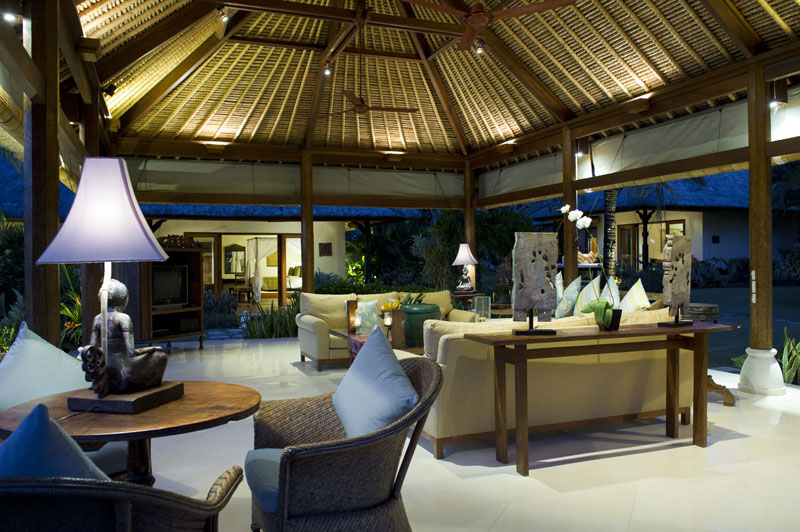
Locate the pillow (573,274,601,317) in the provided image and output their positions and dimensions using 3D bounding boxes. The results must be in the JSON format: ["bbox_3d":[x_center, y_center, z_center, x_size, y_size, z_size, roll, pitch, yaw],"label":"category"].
[{"bbox_3d":[2.076,0.327,6.123,0.288,0.159,0.515,13,-35,3],"label":"pillow"}]

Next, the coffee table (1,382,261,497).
[{"bbox_3d":[-1.235,0.762,2.800,0.830,0.293,0.819,1,-2,-1],"label":"coffee table"}]

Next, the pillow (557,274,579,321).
[{"bbox_3d":[1.920,0.356,6.095,0.140,0.458,0.439,20,-11,-11],"label":"pillow"}]

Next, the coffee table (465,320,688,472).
[{"bbox_3d":[1.633,1.062,4.356,2.137,0.980,0.554,-2,-3,-11],"label":"coffee table"}]

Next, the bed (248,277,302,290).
[{"bbox_3d":[-3.660,0.538,15.497,1.512,0.453,0.899,3,5,41],"label":"bed"}]

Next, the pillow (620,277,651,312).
[{"bbox_3d":[2.470,0.326,5.561,0.365,0.419,0.242,4,-22,31],"label":"pillow"}]

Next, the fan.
[{"bbox_3d":[-0.474,-2.871,7.823,1.116,1.389,1.329,2,-4,-23],"label":"fan"}]

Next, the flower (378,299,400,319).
[{"bbox_3d":[-0.134,0.515,6.358,0.261,0.251,0.230,0,-3,1],"label":"flower"}]

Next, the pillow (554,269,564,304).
[{"bbox_3d":[1.685,0.232,5.604,0.112,0.373,0.330,4,-12,9],"label":"pillow"}]

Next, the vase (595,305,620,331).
[{"bbox_3d":[1.711,0.434,4.355,0.176,0.157,0.216,-3,-3,24],"label":"vase"}]

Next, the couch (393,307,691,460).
[{"bbox_3d":[1.464,1.058,4.816,2.211,0.899,0.669,-5,-6,1],"label":"couch"}]

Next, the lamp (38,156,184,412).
[{"bbox_3d":[-1.507,0.088,2.761,0.598,1.302,0.400,-3,5,-19],"label":"lamp"}]
